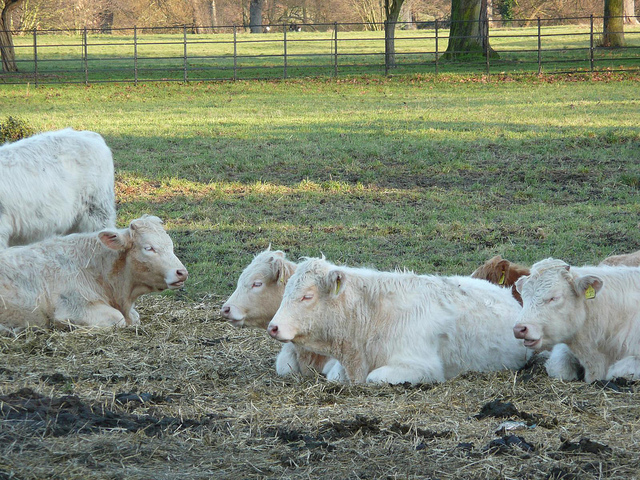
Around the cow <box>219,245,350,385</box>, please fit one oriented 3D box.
[{"bbox_3d":[-0.593,1.425,23.546,1.265,2.336,3.751,-2,-1,37],"label":"cow"}]
